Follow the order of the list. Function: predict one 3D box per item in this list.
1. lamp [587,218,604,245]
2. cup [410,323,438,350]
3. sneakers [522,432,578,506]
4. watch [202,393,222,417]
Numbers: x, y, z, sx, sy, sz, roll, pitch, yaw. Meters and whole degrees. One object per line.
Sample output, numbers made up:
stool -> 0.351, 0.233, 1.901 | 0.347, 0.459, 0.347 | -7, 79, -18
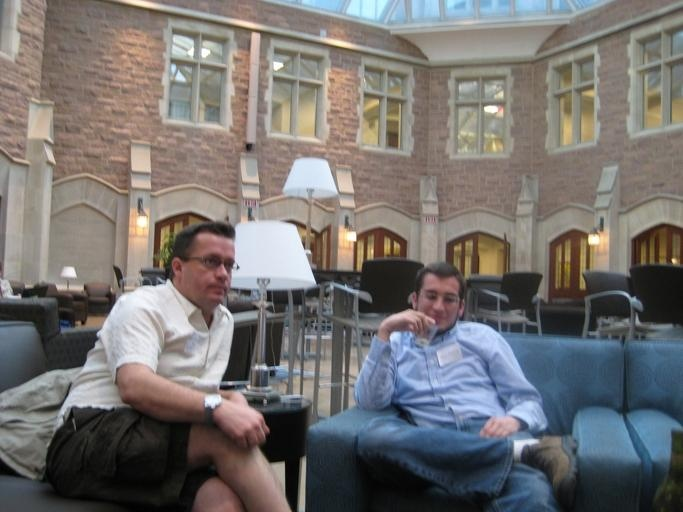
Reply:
lamp -> 4.663, -0.469, 12.343 | 0.258, 0.528, 0.278 | 4, -6, -20
cup -> 0.403, 0.380, 3.164 | 0.096, 0.109, 0.168 | 1, -6, 10
sneakers -> 0.933, 0.946, 2.926 | 0.184, 0.297, 0.191 | -1, -6, 19
watch -> -0.514, 0.603, 2.691 | 0.052, 0.089, 0.082 | 9, -40, -15
